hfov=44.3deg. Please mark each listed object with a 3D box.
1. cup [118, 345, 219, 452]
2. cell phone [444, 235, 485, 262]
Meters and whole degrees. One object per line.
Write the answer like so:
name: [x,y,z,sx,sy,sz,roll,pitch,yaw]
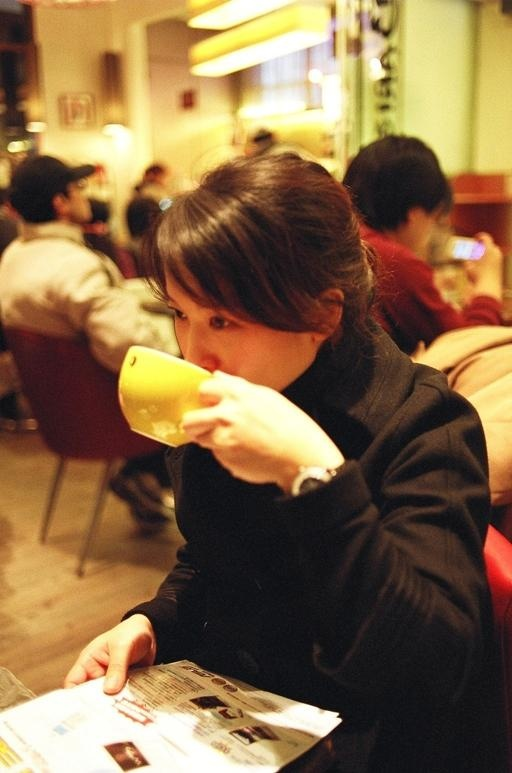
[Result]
cup: [-0.075,0.007,0.530,0.045,0.084,0.123,9,-7,-38]
cell phone: [0.651,-0.432,1.962,0.071,0.076,0.128,7,9,-9]
